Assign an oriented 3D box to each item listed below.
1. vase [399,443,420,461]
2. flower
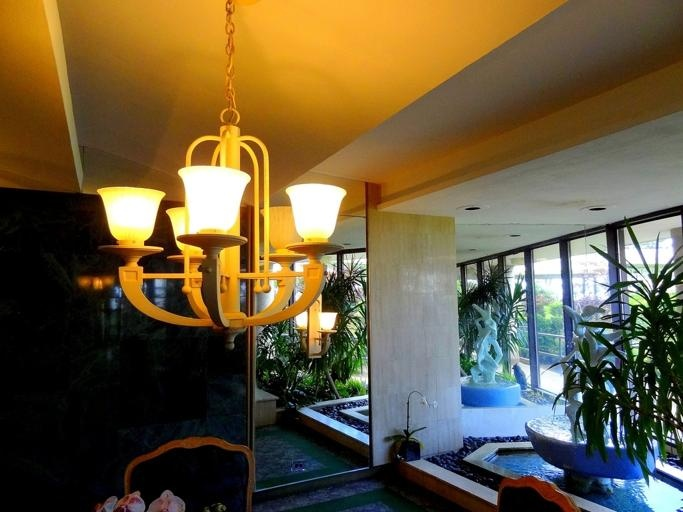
[{"bbox_3d":[0.705,1.995,4.861,0.177,0.176,0.171,6,-15,-26],"label":"vase"},{"bbox_3d":[0.751,1.782,4.986,0.573,0.684,0.217,3,-8,-33],"label":"flower"}]
